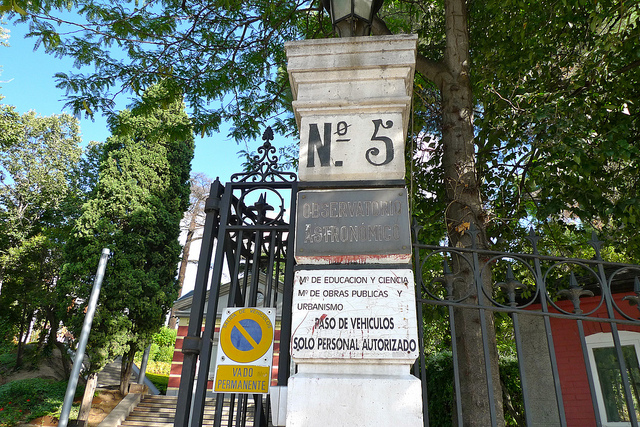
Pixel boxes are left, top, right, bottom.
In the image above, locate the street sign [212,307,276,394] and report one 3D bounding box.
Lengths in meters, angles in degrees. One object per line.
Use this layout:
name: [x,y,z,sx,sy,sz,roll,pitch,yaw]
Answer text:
street sign: [-0.852,1.543,4.717,0.626,0.913,0.360,3,-25,-4]
